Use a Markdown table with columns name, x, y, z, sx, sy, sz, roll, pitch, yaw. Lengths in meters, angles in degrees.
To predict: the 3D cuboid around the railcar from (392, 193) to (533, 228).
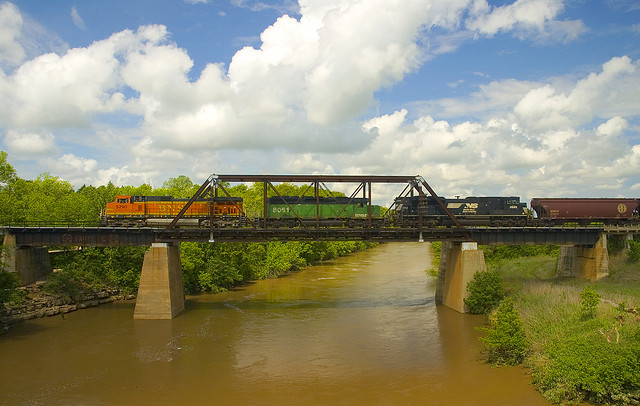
| name | x | y | z | sx | sy | sz | roll | pitch | yaw |
| --- | --- | --- | --- | --- | --- | --- | --- | --- | --- |
| railcar | 20.753 | 1.287 | 68.518 | 19.925 | 5.271 | 4.752 | -3 | 14 | -12 |

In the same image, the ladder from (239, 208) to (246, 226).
| name | x | y | z | sx | sy | sz | roll | pitch | yaw |
| --- | --- | --- | --- | --- | --- | --- | --- | --- | --- |
| ladder | -10.548 | 2.157 | 65.716 | 0.773 | 2.513 | 2.361 | -4 | 14 | -11 |

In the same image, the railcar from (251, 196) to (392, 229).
| name | x | y | z | sx | sy | sz | roll | pitch | yaw |
| --- | --- | --- | --- | --- | --- | --- | --- | --- | --- |
| railcar | 0.167 | 1.348 | 66.460 | 25.325 | 6.238 | 4.803 | 0 | 0 | -3 |
